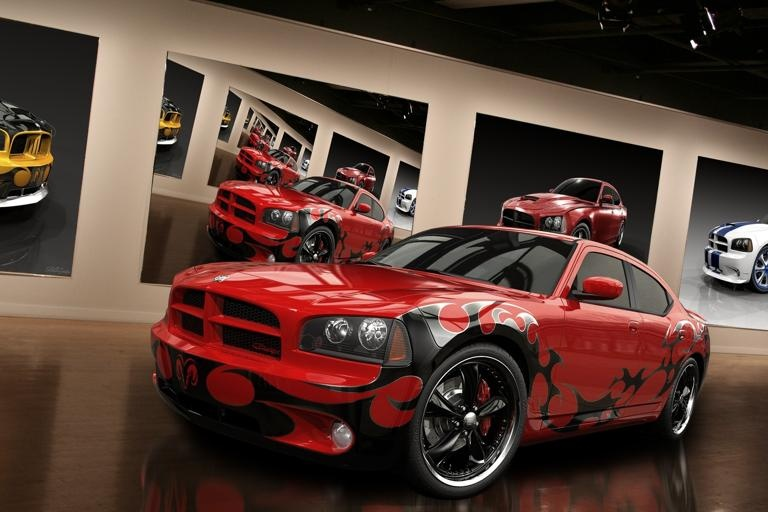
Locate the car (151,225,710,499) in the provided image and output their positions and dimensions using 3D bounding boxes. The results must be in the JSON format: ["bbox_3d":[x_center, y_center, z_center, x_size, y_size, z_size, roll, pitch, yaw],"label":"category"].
[{"bbox_3d":[0.682,0.631,2.832,3.340,1.077,1.689,13,-7,-38],"label":"car"}]
